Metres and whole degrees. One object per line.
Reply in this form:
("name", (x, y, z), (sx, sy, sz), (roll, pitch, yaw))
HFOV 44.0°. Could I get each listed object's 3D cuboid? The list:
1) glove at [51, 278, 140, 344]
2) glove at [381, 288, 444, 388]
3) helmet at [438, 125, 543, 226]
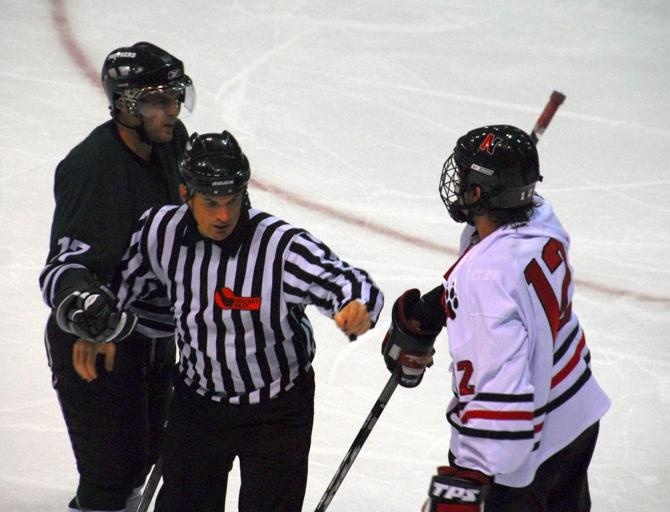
("glove", (-0.950, 0.242, 3.355), (0.236, 0.136, 0.293), (10, 28, -11))
("glove", (0.335, 0.342, 3.592), (0.283, 0.234, 0.418), (18, 49, 4))
("helmet", (0.619, -0.325, 3.267), (0.396, 0.374, 0.326), (18, 31, 38))
